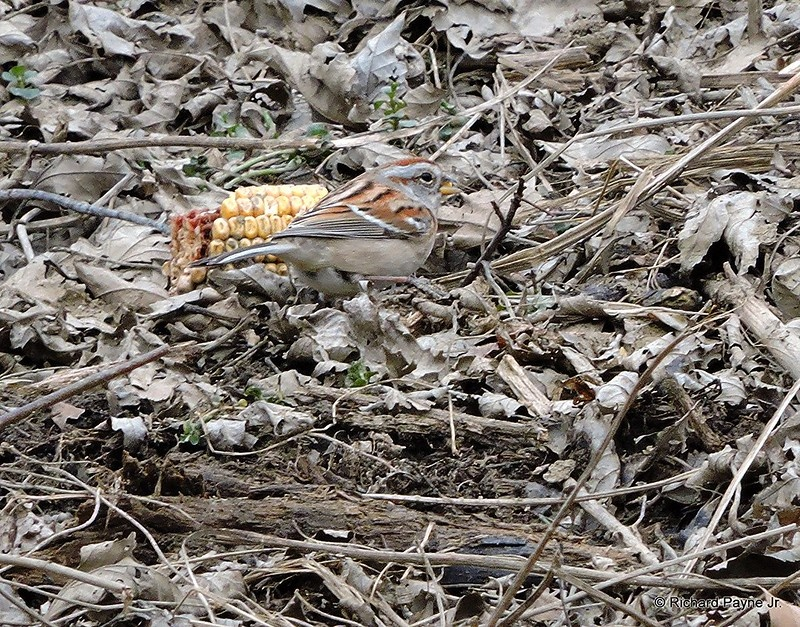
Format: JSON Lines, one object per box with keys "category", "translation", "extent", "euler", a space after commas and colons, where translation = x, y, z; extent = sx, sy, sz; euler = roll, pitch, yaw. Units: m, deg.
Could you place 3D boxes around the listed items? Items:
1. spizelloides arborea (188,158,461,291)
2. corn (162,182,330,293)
{"category": "spizelloides arborea", "translation": [-0.521, -0.439, 5.558], "extent": [1.779, 0.536, 0.472], "euler": [-1, 94, -23]}
{"category": "corn", "translation": [-0.814, -0.454, 6.095], "extent": [1.461, 0.494, 1.134], "euler": [-2, 18, -2]}
